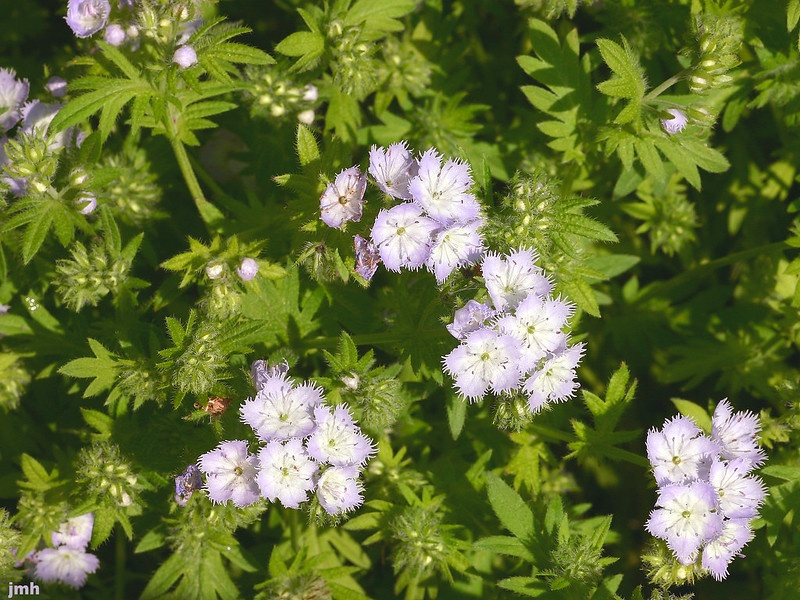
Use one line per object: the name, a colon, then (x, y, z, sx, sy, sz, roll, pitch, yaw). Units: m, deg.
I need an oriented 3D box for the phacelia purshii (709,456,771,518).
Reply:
phacelia purshii: (2.958, 1.632, 8.803, 0.464, 0.239, 0.525, -32, 99, -10)

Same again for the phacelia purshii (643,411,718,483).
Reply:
phacelia purshii: (2.455, 1.256, 8.884, 0.499, 0.222, 0.634, -7, 85, 14)

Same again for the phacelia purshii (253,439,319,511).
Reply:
phacelia purshii: (-0.964, 1.459, 8.601, 0.465, 0.195, 0.604, 8, 101, -8)

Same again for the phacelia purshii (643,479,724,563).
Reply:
phacelia purshii: (2.488, 1.867, 8.711, 0.588, 0.305, 0.626, 33, 77, 10)

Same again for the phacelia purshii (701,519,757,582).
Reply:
phacelia purshii: (2.867, 2.089, 8.840, 0.320, 0.331, 0.702, -3, 98, -9)
